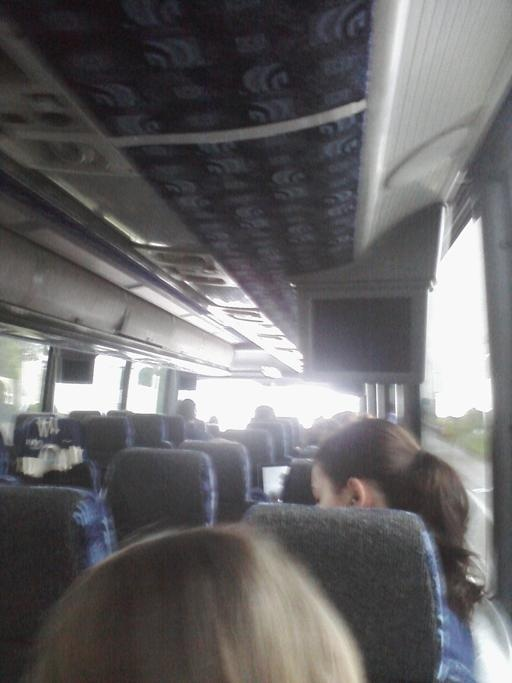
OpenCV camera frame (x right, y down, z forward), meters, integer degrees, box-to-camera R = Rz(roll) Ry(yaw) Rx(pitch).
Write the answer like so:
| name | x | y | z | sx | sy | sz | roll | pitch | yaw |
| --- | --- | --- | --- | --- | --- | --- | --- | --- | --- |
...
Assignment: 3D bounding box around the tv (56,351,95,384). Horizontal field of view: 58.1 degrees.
| name | x | y | z | sx | sy | sz | roll | pitch | yaw |
| --- | --- | --- | --- | --- | --- | --- | --- | --- | --- |
| tv | -1.349 | 0.192 | 3.523 | 0.192 | 0.357 | 0.296 | 5 | 2 | 31 |
